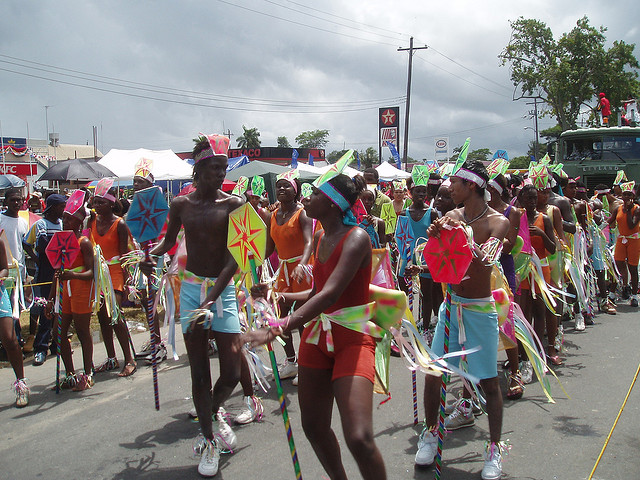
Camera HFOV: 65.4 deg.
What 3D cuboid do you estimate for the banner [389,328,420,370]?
[{"bbox_3d":[0.769,0.880,4.229,0.070,0.426,0.237,-24,8,-1],"label":"banner"}]

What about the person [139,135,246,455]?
[{"bbox_3d":[-1.147,0.502,4.932,0.905,3.045,1.296,-5,4,-20],"label":"person"}]

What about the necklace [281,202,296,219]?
[{"bbox_3d":[-0.417,-0.400,6.640,0.126,0.192,0.067,19,-5,8],"label":"necklace"}]

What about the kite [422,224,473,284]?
[{"bbox_3d":[1.123,0.126,4.397,0.446,0.473,0.121,-12,-6,37],"label":"kite"}]

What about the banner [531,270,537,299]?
[{"bbox_3d":[2.872,0.582,6.706,0.039,0.346,0.151,-2,4,23],"label":"banner"}]

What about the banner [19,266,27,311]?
[{"bbox_3d":[-4.390,0.682,7.318,0.045,0.413,1.267,-6,4,-31],"label":"banner"}]

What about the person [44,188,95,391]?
[{"bbox_3d":[-3.272,0.636,6.520,0.611,2.578,0.591,-6,5,-32],"label":"person"}]

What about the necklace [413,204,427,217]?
[{"bbox_3d":[1.607,-0.471,7.925,0.185,0.191,0.138,-4,4,3],"label":"necklace"}]

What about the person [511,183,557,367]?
[{"bbox_3d":[3.017,0.474,6.960,0.528,2.512,1.219,-2,4,26],"label":"person"}]

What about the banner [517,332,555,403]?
[{"bbox_3d":[2.583,1.559,5.977,0.100,0.968,0.135,-30,-18,9],"label":"banner"}]

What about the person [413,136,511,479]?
[{"bbox_3d":[1.342,0.663,4.698,0.839,2.980,1.308,-2,4,23],"label":"person"}]

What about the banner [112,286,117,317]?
[{"bbox_3d":[-2.806,0.849,6.805,0.033,0.409,0.131,-5,4,-22],"label":"banner"}]

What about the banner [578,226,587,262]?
[{"bbox_3d":[4.961,0.024,9.366,0.123,0.656,1.114,-1,5,29],"label":"banner"}]

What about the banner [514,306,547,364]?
[{"bbox_3d":[2.231,0.991,5.484,0.135,0.810,0.238,-29,-1,19],"label":"banner"}]

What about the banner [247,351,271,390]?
[{"bbox_3d":[-0.626,1.299,5.019,0.182,0.377,0.823,-4,4,-10],"label":"banner"}]

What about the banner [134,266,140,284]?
[{"bbox_3d":[-2.505,0.496,6.783,0.070,0.215,0.284,-5,4,-19],"label":"banner"}]

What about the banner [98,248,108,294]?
[{"bbox_3d":[-2.923,0.430,6.653,0.054,0.526,0.214,-5,4,-24],"label":"banner"}]

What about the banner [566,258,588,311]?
[{"bbox_3d":[4.317,0.744,8.372,0.163,1.020,0.045,-30,10,-37],"label":"banner"}]

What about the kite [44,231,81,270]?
[{"bbox_3d":[-3.306,0.118,6.406,0.470,0.451,0.236,-6,7,-17],"label":"kite"}]

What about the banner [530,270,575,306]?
[{"bbox_3d":[3.347,0.671,7.195,0.122,0.895,0.120,-30,27,34],"label":"banner"}]
